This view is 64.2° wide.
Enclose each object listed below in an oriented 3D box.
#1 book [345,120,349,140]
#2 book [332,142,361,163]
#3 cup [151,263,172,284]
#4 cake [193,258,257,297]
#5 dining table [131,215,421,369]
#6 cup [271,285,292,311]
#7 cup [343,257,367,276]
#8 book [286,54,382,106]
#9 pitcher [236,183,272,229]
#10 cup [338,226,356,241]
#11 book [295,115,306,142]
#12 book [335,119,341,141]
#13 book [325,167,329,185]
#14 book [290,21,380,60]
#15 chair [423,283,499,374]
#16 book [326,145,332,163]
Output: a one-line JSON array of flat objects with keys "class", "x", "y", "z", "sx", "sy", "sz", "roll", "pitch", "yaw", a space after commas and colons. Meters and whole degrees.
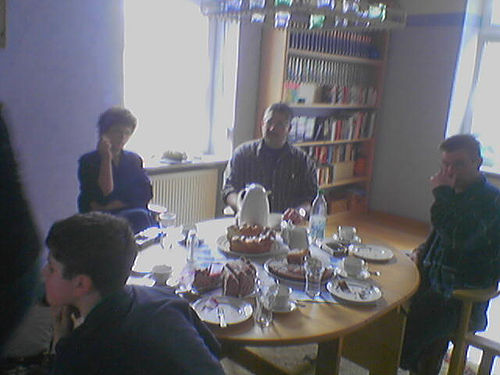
[{"class": "book", "x": 1.173, "y": -0.701, "z": 4.842, "sx": 0.071, "sy": 0.229, "sz": 0.027, "roll": -11, "pitch": 20, "yaw": -34}, {"class": "book", "x": 1.196, "y": -0.470, "z": 5.025, "sx": 0.325, "sy": 0.121, "sz": 0.250, "roll": -12, "pitch": 18, "yaw": -42}, {"class": "cup", "x": -0.396, "y": 0.375, "z": 1.794, "sx": 0.064, "sy": 0.061, "sz": 0.083, "roll": 13, "pitch": 13, "yaw": 12}, {"class": "cake", "x": -0.108, "y": 0.372, "z": 1.805, "sx": 0.167, "sy": 0.075, "sz": 0.175, "roll": 5, "pitch": 8, "yaw": 38}, {"class": "dining table", "x": 0.135, "y": 0.495, "z": 1.885, "sx": 0.597, "sy": 0.222, "sz": 0.866, "roll": 4, "pitch": 13, "yaw": -40}, {"class": "cup", "x": 0.133, "y": 0.478, "z": 1.721, "sx": 0.079, "sy": 0.066, "sz": 0.081, "roll": 2, "pitch": 12, "yaw": -1}, {"class": "cup", "x": 0.516, "y": 0.387, "z": 1.988, "sx": 0.079, "sy": 0.061, "sz": 0.084, "roll": 2, "pitch": -5, "yaw": 0}, {"class": "book", "x": 0.919, "y": -1.264, "z": 4.648, "sx": 1.308, "sy": 0.551, "sz": 0.412, "roll": -5, "pitch": 10, "yaw": -23}, {"class": "pitcher", "x": 0.007, "y": 0.117, "z": 2.360, "sx": 0.211, "sy": 0.244, "sz": 0.163, "roll": 5, "pitch": 3, "yaw": 22}, {"class": "cup", "x": 0.585, "y": 0.264, "z": 2.407, "sx": 0.078, "sy": 0.064, "sz": 0.079, "roll": -1, "pitch": 15, "yaw": 0}, {"class": "book", "x": 0.548, "y": -0.641, "z": 4.392, "sx": 0.162, "sy": 0.249, "sz": 0.069, "roll": 15, "pitch": 17, "yaw": 30}, {"class": "book", "x": 1.046, "y": -0.692, "z": 4.767, "sx": 0.072, "sy": 0.242, "sz": 0.028, "roll": -13, "pitch": 21, "yaw": -37}, {"class": "book", "x": 0.925, "y": -0.142, "z": 4.802, "sx": 0.026, "sy": 0.211, "sz": 0.086, "roll": 13, "pitch": 21, "yaw": 37}, {"class": "book", "x": 0.896, "y": -1.580, "z": 4.359, "sx": 0.958, "sy": 0.285, "sz": 0.179, "roll": 11, "pitch": 11, "yaw": 8}, {"class": "chair", "x": 1.248, "y": 0.863, "z": 2.356, "sx": 0.366, "sy": 0.614, "sz": 0.328, "roll": 8, "pitch": 19, "yaw": 24}, {"class": "book", "x": 0.953, "y": -0.394, "z": 4.806, "sx": 0.034, "sy": 0.160, "sz": 0.149, "roll": 5, "pitch": 9, "yaw": 22}]
